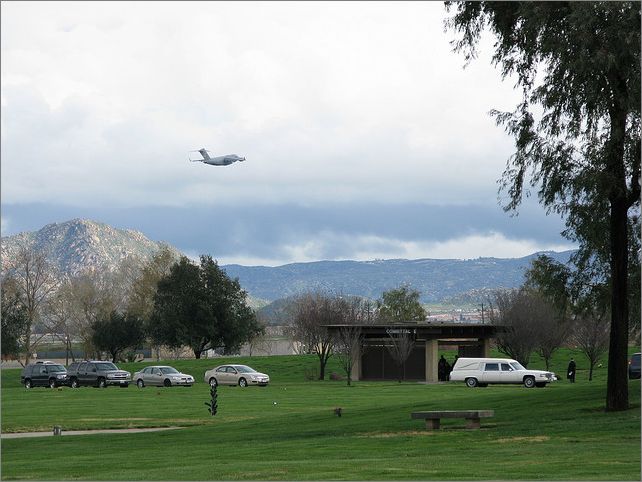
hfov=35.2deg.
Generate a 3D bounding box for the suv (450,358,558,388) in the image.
[{"bbox_3d":[11.215,8.451,64.002,6.511,1.910,2.023,-8,-12,44],"label":"suv"}]

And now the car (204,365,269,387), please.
[{"bbox_3d":[-5.725,9.187,68.069,3.993,1.479,3.095,1,-9,-5],"label":"car"}]

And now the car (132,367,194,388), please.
[{"bbox_3d":[-10.933,9.328,68.572,3.939,1.427,1.530,-4,-10,24],"label":"car"}]

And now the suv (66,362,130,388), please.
[{"bbox_3d":[-15.445,9.269,69.327,3.910,1.605,1.958,-7,-7,40],"label":"suv"}]

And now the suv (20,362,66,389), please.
[{"bbox_3d":[-19.105,9.504,70.893,3.263,1.468,1.770,-9,-10,42],"label":"suv"}]
